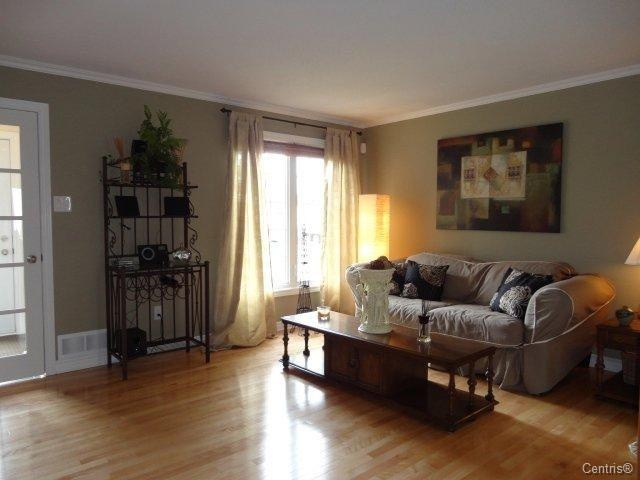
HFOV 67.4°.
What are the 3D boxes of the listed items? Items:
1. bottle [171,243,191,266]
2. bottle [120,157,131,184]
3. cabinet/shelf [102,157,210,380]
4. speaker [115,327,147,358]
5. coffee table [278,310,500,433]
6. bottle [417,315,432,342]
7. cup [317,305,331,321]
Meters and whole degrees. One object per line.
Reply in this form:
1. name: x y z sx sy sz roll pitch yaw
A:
1. bottle: -1.507 0.161 5.251 0.200 0.247 0.209 3 1 25
2. bottle: -2.018 -0.722 4.978 0.105 0.258 0.183 -6 14 -21
3. cabinet/shelf: -1.798 0.235 5.218 1.177 2.245 0.909 -8 15 -30
4. speaker: -1.988 1.060 5.108 0.307 0.313 0.308 0 -3 12
5. coffee table: 0.619 1.157 4.502 1.929 0.690 0.637 9 16 34
6. bottle: 0.939 0.776 4.307 0.116 0.261 0.276 3 13 13
7. cup: 0.037 0.771 5.055 0.127 0.126 0.125 0 0 0
